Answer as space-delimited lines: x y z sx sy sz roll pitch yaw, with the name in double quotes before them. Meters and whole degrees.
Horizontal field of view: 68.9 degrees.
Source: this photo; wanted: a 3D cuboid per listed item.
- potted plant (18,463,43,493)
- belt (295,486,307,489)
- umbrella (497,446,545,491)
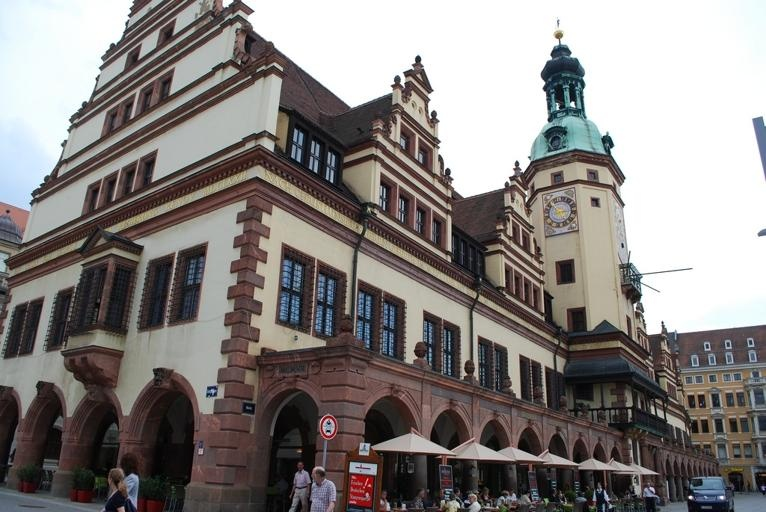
"potted plant" -16.747 10.600 26.601 1.196 1.641 1.169 11 -26 -28
"belt" -2.996 8.650 20.879 0.384 0.139 0.090 2 -28 -1
"umbrella" 6.443 9.976 26.627 1.528 1.122 1.562 3 -25 0
